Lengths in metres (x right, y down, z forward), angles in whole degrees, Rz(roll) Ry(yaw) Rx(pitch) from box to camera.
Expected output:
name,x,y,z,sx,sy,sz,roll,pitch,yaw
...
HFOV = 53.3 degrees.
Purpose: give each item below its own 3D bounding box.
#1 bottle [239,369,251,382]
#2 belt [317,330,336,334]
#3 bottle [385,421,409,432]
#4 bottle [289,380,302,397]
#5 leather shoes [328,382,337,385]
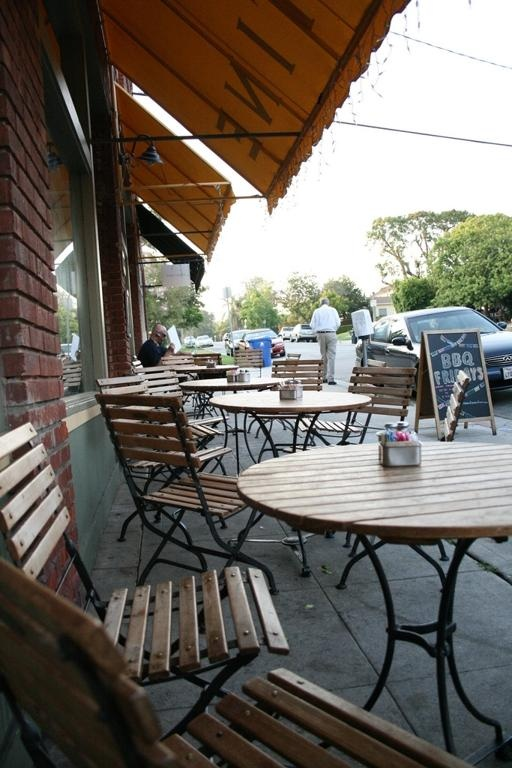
name,x,y,z,sx,sy,sz,roll,pitch,yaw
bottle,-0.139,-0.088,5.859,0.115,0.155,0.216,1,2,19
belt,1.898,-1.405,13.885,0.190,0.049,0.192,-2,-4,36
bottle,0.562,0.166,2.059,0.055,0.051,0.055,0,-3,-8
bottle,0.338,0.055,4.410,0.154,0.166,0.096,-1,4,-4
leather shoes,1.953,-0.001,13.168,0.174,0.071,0.063,-4,-4,0
